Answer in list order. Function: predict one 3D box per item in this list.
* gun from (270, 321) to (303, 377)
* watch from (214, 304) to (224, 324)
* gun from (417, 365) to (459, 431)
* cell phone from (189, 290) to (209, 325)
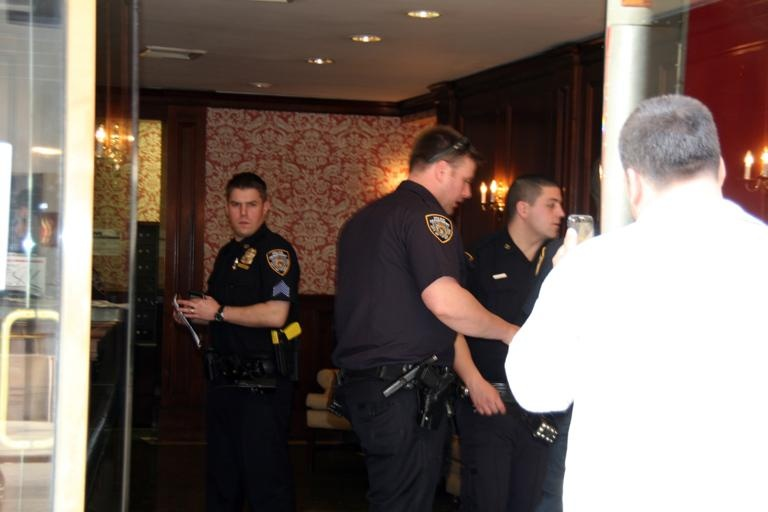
[{"bbox_3d":[-0.486,0.473,3.200,0.050,0.273,0.255,-10,-14,22],"label":"gun"},{"bbox_3d":[-0.801,0.282,3.116,0.049,0.076,0.056,0,1,-3],"label":"watch"},{"bbox_3d":[0.211,0.546,2.479,0.079,0.248,0.190,0,1,29],"label":"gun"},{"bbox_3d":[-0.909,0.260,3.121,0.193,0.169,0.046,2,3,35],"label":"cell phone"}]
